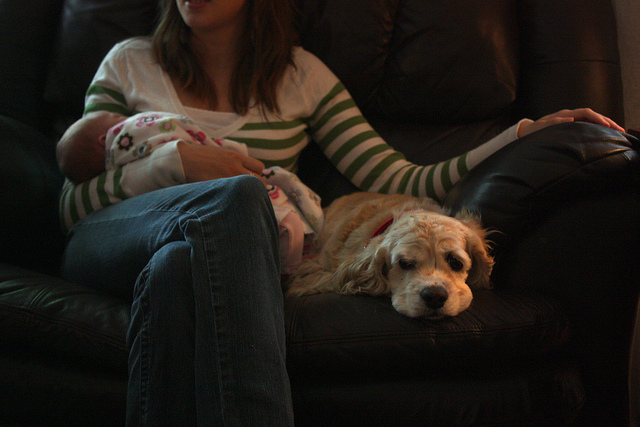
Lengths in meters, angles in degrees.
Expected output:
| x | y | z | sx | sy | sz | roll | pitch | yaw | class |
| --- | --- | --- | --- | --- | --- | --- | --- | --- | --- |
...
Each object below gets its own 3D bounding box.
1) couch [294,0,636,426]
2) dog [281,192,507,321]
| x | y | z | sx | sy | sz | roll | pitch | yaw | class |
| --- | --- | --- | --- | --- | --- | --- | --- | --- | --- |
| 0.490 | -0.164 | 3.275 | 1.796 | 1.791 | 1.845 | 0 | 0 | 8 | couch |
| 0.328 | 0.166 | 2.983 | 0.797 | 0.410 | 1.096 | -5 | 10 | -13 | dog |
